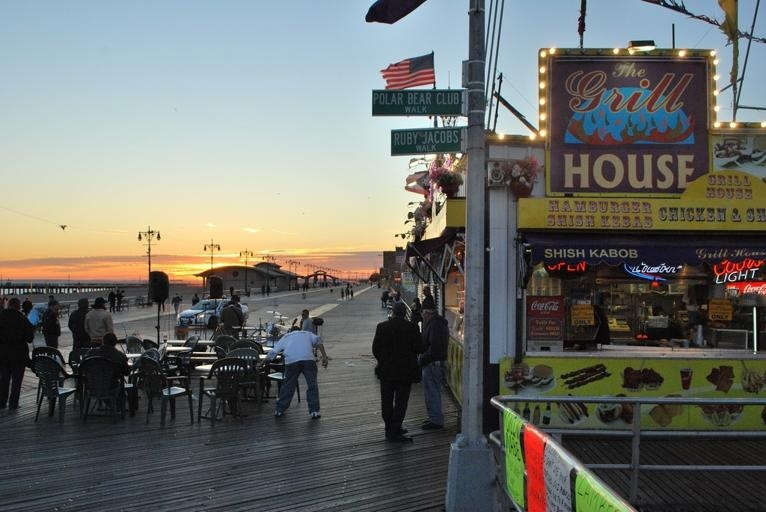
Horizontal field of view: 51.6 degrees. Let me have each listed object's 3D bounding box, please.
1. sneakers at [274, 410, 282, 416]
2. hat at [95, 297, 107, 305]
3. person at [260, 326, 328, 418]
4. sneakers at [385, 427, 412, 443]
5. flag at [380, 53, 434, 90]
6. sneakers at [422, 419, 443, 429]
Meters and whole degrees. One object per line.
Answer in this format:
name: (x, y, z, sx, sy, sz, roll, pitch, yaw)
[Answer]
sneakers: (-2.268, 3.428, 17.282, 0.130, 0.095, 0.129, 0, -8, 5)
hat: (-6.943, 1.099, 19.339, 0.188, 0.202, 0.253, 2, 5, 3)
person: (-1.937, 2.503, 17.335, 1.331, 2.309, 0.687, -2, -35, -3)
sneakers: (0.284, 3.565, 15.705, 0.620, 0.258, 0.206, 0, -2, -15)
flag: (0.532, -3.908, 16.667, 1.015, 0.729, 0.647, -2, 6, -2)
sneakers: (1.010, 3.503, 16.495, 0.351, 0.136, 0.200, 6, -6, -5)
